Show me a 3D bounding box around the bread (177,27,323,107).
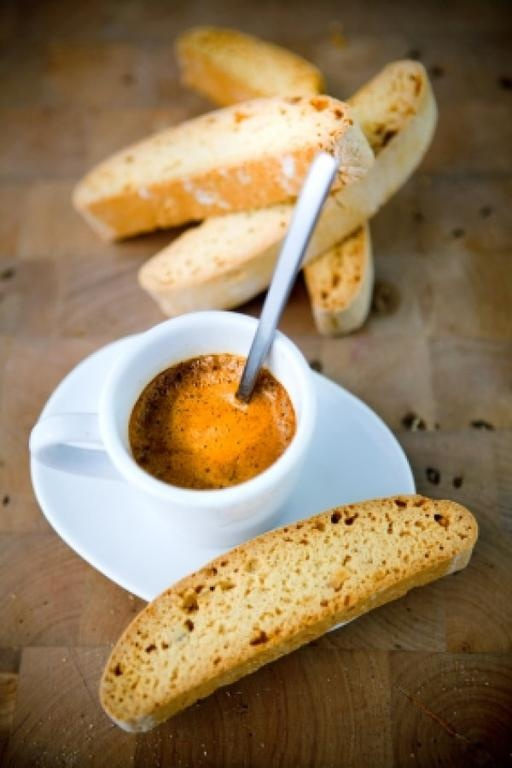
[{"bbox_3d":[-0.021,-0.581,1.404,0.274,0.086,0.132,11,88,7],"label":"bread"}]
